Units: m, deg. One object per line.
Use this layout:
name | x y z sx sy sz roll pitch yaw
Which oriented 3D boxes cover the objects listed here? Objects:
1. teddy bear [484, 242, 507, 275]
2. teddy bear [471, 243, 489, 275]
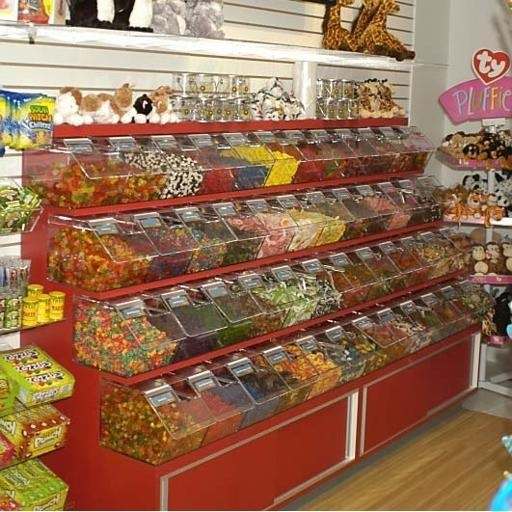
teddy bear | 2.192 0.015 3.995 0.231 0.246 0.087 0 -4 5
teddy bear | 2.040 0.027 3.972 0.183 0.232 0.061 1 -10 5
